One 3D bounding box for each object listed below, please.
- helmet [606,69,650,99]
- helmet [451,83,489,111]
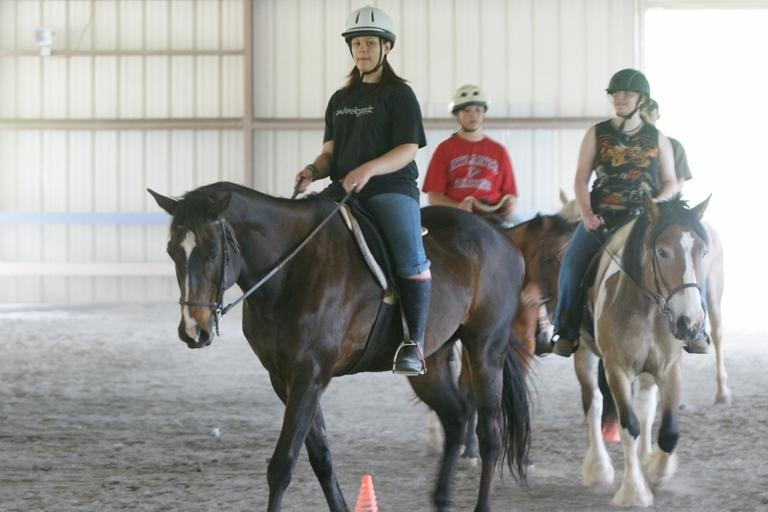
[{"bbox_3d":[3.888,-2.664,21.738,0.467,0.399,0.506,6,6,44],"label":"helmet"},{"bbox_3d":[1.429,-2.649,22.921,0.383,0.526,0.472,-1,-2,-4],"label":"helmet"}]
